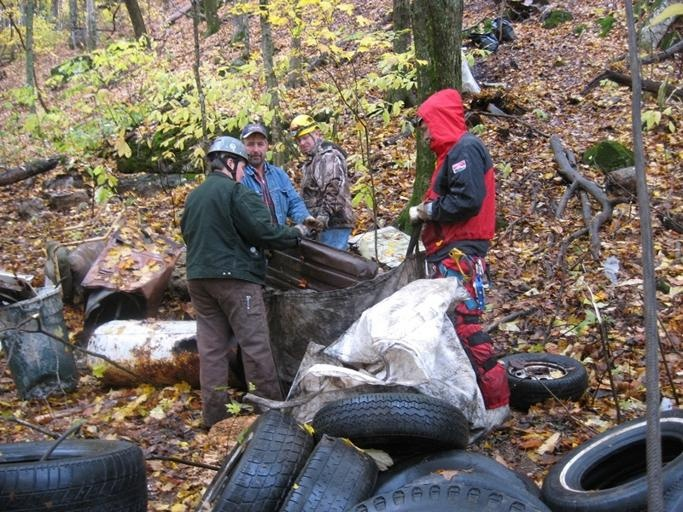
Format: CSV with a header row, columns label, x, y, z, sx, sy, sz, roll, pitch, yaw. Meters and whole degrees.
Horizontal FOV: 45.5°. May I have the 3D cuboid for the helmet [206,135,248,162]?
label,x,y,z,sx,sy,sz,roll,pitch,yaw
helmet,-1.256,-1.229,9.255,0.372,0.192,0.277,3,2,-28

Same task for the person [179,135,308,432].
label,x,y,z,sx,sy,sz,roll,pitch,yaw
person,-1.168,0.290,9.170,1.137,3.198,0.612,-8,10,-5

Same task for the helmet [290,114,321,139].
label,x,y,z,sx,sy,sz,roll,pitch,yaw
helmet,-0.445,-1.677,10.427,0.262,0.202,0.335,-14,15,23

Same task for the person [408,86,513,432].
label,x,y,z,sx,sy,sz,roll,pitch,yaw
person,1.329,-0.014,8.767,0.854,3.554,1.120,-10,11,-16
